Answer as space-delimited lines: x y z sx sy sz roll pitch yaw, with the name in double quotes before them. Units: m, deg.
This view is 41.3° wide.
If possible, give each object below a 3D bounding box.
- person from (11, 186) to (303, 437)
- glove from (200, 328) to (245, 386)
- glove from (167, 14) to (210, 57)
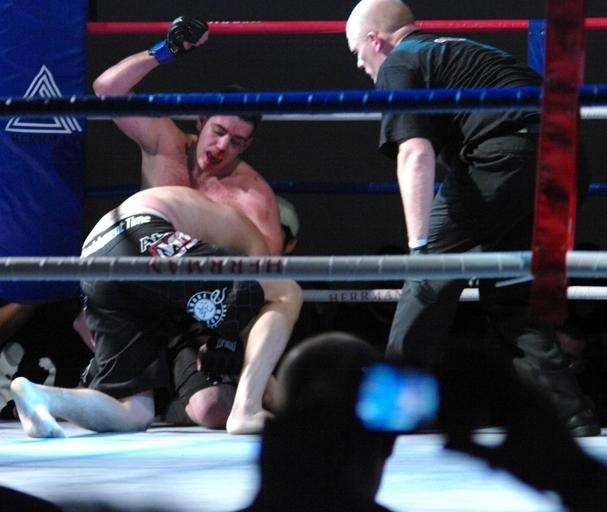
"person" -0.462 0.215 2.764 0.755 0.651 1.020 -14 -18 37
"glove" -0.257 0.323 2.537 0.157 0.147 0.070 10 26 12
"glove" -0.425 -0.799 2.915 0.180 0.129 0.122 -6 10 18
